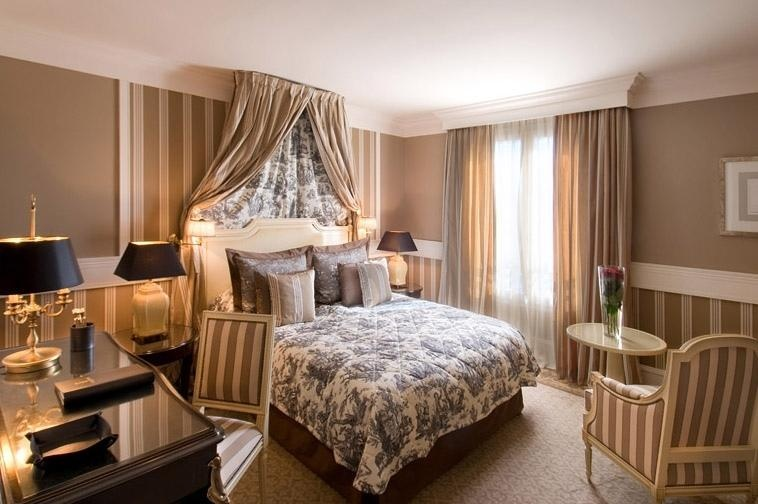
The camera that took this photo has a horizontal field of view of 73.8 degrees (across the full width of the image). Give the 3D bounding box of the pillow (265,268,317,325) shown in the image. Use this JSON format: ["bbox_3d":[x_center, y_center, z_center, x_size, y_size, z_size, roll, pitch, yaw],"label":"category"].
[{"bbox_3d":[-0.852,0.431,4.786,0.452,0.437,0.168,5,-17,-43],"label":"pillow"}]

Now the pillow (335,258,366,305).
[{"bbox_3d":[-0.310,0.330,5.350,0.437,0.500,0.167,-2,-9,-32],"label":"pillow"}]

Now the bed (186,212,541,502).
[{"bbox_3d":[-0.223,0.789,4.624,2.098,1.336,1.770,0,1,45],"label":"bed"}]

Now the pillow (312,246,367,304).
[{"bbox_3d":[-0.421,0.215,5.599,0.813,0.636,0.278,-8,5,-32],"label":"pillow"}]

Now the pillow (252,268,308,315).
[{"bbox_3d":[-0.958,0.389,4.811,0.344,0.350,0.121,-11,-19,-12],"label":"pillow"}]
